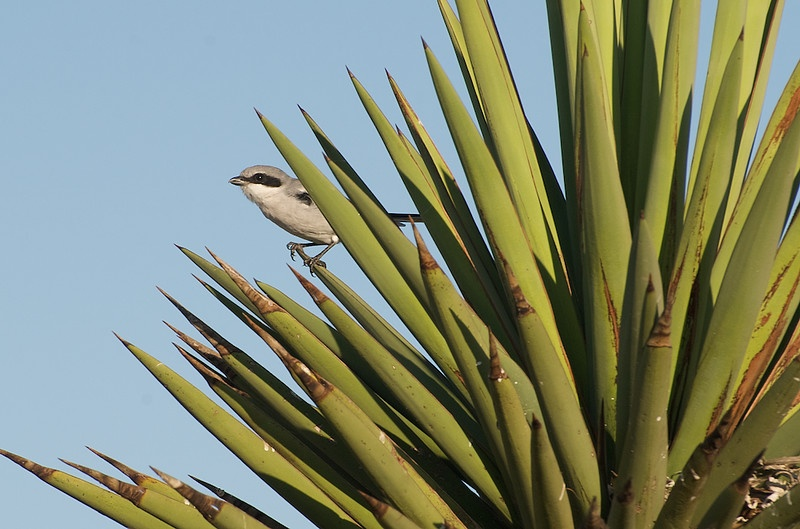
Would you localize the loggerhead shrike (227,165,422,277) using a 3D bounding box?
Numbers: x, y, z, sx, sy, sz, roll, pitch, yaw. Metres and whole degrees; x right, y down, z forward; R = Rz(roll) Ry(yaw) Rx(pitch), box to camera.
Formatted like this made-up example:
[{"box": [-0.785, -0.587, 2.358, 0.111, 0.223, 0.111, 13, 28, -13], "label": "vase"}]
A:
[{"box": [-0.514, -0.369, 9.461, 1.808, 0.833, 0.628, 1, -3, -13], "label": "loggerhead shrike"}]
